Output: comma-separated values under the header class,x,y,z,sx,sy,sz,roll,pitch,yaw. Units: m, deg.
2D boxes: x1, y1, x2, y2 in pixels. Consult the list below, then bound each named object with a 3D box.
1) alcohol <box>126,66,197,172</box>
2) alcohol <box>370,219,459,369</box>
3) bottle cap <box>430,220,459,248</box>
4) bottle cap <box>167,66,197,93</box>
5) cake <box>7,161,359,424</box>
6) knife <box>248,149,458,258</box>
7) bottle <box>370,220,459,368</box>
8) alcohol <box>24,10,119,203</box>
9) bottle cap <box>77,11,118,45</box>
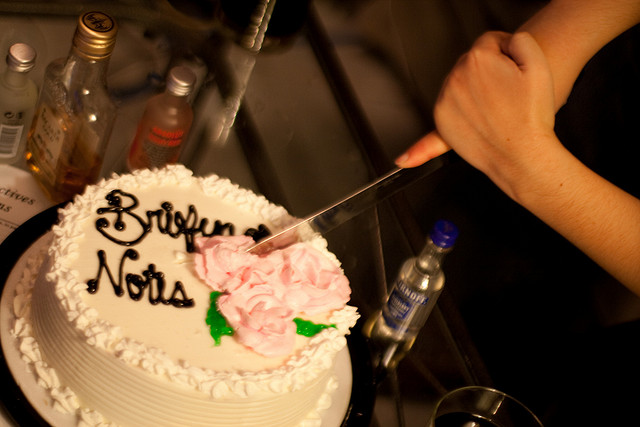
class,x,y,z,sx,sy,sz,roll,pitch,yaw
alcohol,-0.460,-0.217,1.740,0.121,0.420,0.124,30,42,-13
alcohol,0.205,0.297,1.649,0.140,0.607,0.145,27,37,-6
bottle cap,0.332,0.061,1.550,0.066,0.047,0.067,13,55,-9
bottle cap,-0.384,-0.373,1.648,0.074,0.051,0.075,-2,48,-13
cake,-0.298,0.220,1.387,0.702,0.238,0.700,-5,53,-36
knife,0.099,-0.022,1.760,0.586,0.078,0.041,-29,55,-11
bottle,0.271,0.228,1.642,0.127,0.500,0.117,8,42,-8
alcohol,-0.670,-0.292,1.638,0.215,0.550,0.141,47,38,17
bottle cap,-0.550,-0.461,1.473,0.083,0.044,0.080,29,45,-4
